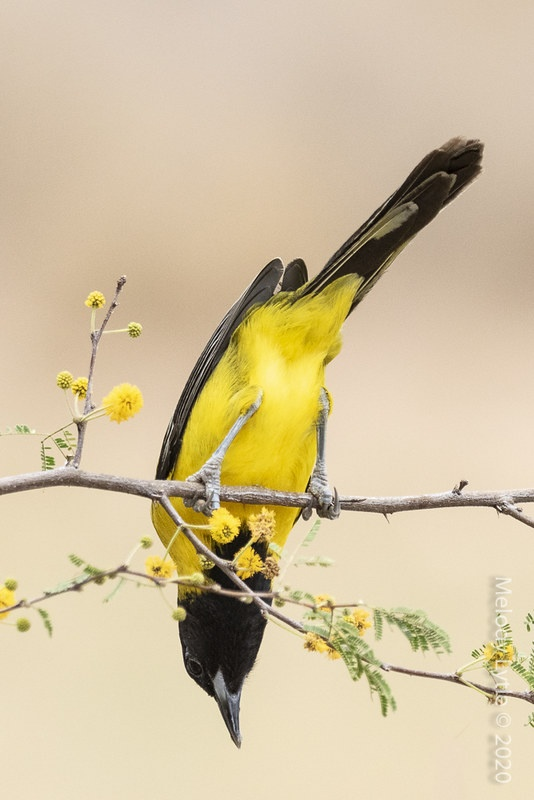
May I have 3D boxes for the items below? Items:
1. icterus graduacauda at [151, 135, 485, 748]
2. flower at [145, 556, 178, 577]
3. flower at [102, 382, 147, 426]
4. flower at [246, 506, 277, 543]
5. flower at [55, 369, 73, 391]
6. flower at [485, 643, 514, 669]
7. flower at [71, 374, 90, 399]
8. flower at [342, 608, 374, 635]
[{"bbox_3d":[0.055,0.108,2.468,0.394,1.551,0.542,26,-21,-25],"label":"icterus graduacauda"},{"bbox_3d":[-0.236,0.367,2.363,0.058,0.027,0.055,-1,25,-13],"label":"flower"},{"bbox_3d":[-0.310,0.008,2.262,0.089,0.069,0.071,11,3,22],"label":"flower"},{"bbox_3d":[-0.017,0.276,2.356,0.073,0.065,0.093,10,-26,8],"label":"flower"},{"bbox_3d":[-0.473,-0.048,2.410,0.050,0.048,0.047,0,-10,1],"label":"flower"},{"bbox_3d":[0.525,0.582,2.404,0.065,0.030,0.064,-8,-28,7],"label":"flower"},{"bbox_3d":[-0.416,-0.032,2.342,0.038,0.037,0.045,-17,-35,24],"label":"flower"},{"bbox_3d":[0.197,0.488,2.320,0.054,0.060,0.122,4,-16,13],"label":"flower"}]
